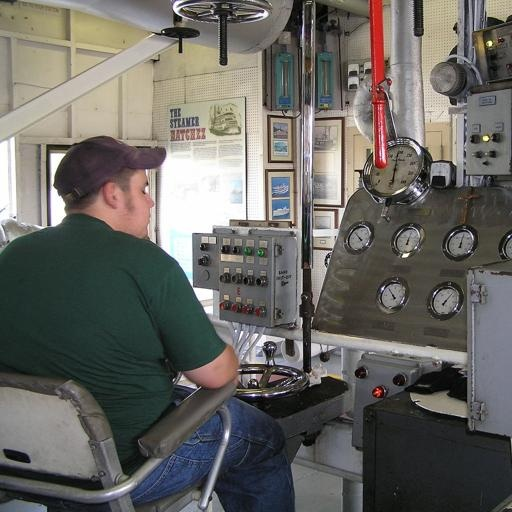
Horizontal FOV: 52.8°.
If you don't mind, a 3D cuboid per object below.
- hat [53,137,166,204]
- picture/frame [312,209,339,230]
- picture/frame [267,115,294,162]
[{"bbox_3d":[-0.417,-0.270,1.431,0.318,0.138,0.194,-28,22,-9],"label":"hat"},{"bbox_3d":[0.896,-0.463,6.450,0.556,0.330,0.023,5,8,41],"label":"picture/frame"},{"bbox_3d":[0.294,-1.475,6.393,0.062,0.657,0.686,4,6,43],"label":"picture/frame"}]
